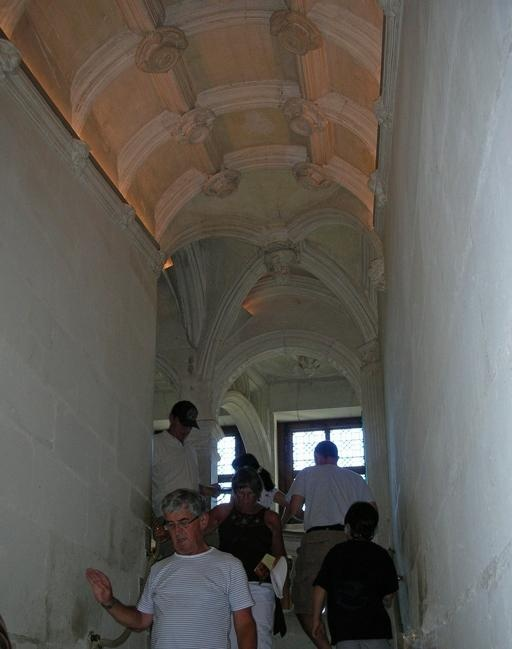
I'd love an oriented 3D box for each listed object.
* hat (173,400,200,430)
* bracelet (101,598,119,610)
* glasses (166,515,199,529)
[{"bbox_3d":[-0.628,0.837,5.464,0.248,0.210,0.338,-16,-23,36],"label":"hat"},{"bbox_3d":[-0.617,1.203,2.527,0.050,0.030,0.076,-6,-27,-5],"label":"bracelet"},{"bbox_3d":[-0.328,0.855,2.539,0.065,0.024,0.079,-8,-52,8],"label":"glasses"}]
